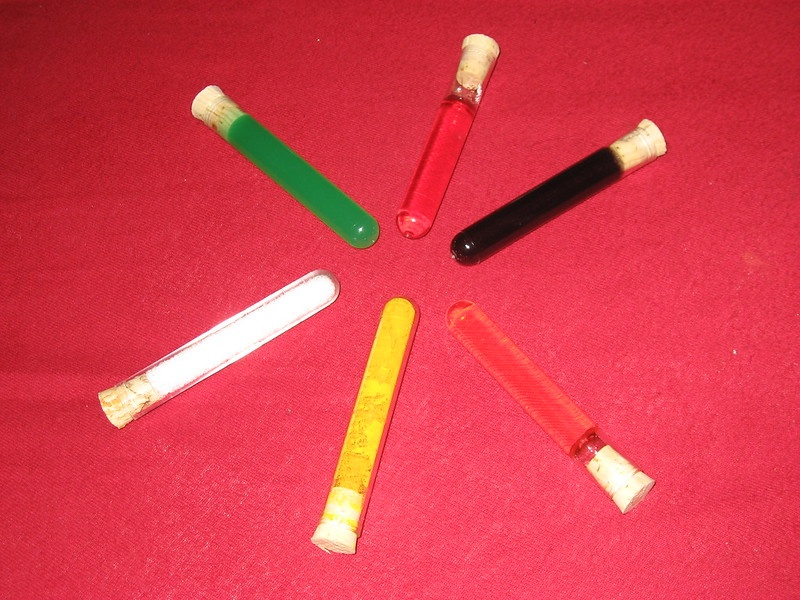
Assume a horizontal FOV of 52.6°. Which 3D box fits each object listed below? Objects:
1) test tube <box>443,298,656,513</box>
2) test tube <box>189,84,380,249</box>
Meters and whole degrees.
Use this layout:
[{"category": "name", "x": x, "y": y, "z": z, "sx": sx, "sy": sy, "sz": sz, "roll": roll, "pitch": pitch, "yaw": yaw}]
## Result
[{"category": "test tube", "x": 0.273, "y": 0.215, "z": 1.524, "sx": 0.091, "sy": 0.080, "sz": 0.453, "roll": -42, "pitch": 74, "yaw": -6}, {"category": "test tube", "x": -0.228, "y": -0.246, "z": 1.582, "sx": 0.407, "sy": 0.083, "sz": 0.086, "roll": 40, "pitch": 84, "yaw": 5}]
